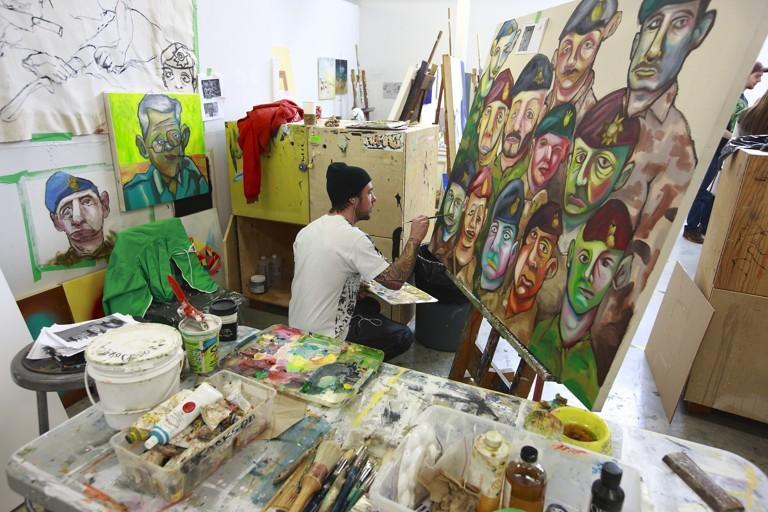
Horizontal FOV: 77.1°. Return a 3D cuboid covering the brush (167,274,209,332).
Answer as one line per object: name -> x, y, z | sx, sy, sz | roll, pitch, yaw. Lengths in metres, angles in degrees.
brush -> -1.097, 0.264, 2.690 | 0.095, 0.312, 0.084 | -35, -5, 42

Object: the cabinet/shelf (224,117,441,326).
cabinet/shelf -> -0.472, -0.286, 3.953 | 1.545, 1.565, 0.896 | 8, 17, 22

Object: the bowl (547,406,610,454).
bowl -> 0.695, 0.645, 1.729 | 0.159, 0.069, 0.161 | 5, 23, -2

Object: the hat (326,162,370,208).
hat -> -0.191, -0.418, 2.782 | 0.257, 0.263, 0.193 | -8, 22, -21

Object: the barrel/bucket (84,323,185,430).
barrel/bucket -> -0.920, 0.437, 1.904 | 0.351, 0.277, 0.356 | 4, 24, -2
